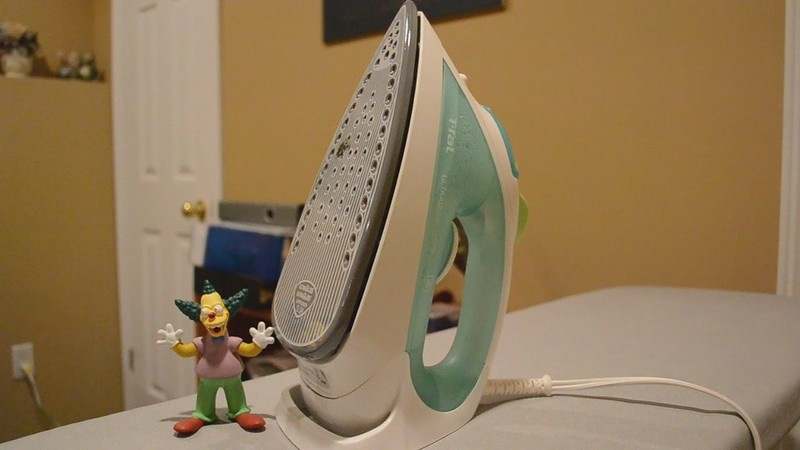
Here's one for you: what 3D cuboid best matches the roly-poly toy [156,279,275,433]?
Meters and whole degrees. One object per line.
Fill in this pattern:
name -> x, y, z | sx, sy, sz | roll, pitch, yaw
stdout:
roly-poly toy -> -0.520, 0.373, 2.265 | 0.318, 0.425, 0.141 | -1, 3, -15
